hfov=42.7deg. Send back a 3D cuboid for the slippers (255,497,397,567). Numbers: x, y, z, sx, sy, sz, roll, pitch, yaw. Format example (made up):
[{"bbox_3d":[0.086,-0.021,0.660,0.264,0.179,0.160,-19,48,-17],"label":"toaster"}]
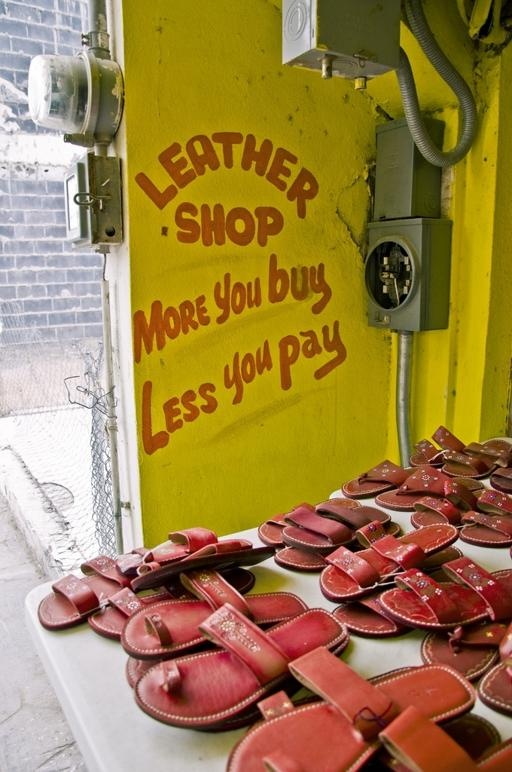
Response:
[{"bbox_3d":[0.127,0.235,1.189,0.157,0.038,0.121,-15,16,-34],"label":"slippers"}]

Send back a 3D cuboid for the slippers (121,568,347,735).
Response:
[{"bbox_3d":[-0.015,0.299,0.802,0.265,0.081,0.116,-11,22,-34],"label":"slippers"}]

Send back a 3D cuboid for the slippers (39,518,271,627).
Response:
[{"bbox_3d":[-0.134,0.279,1.054,0.390,0.070,0.140,-12,13,-33],"label":"slippers"}]
